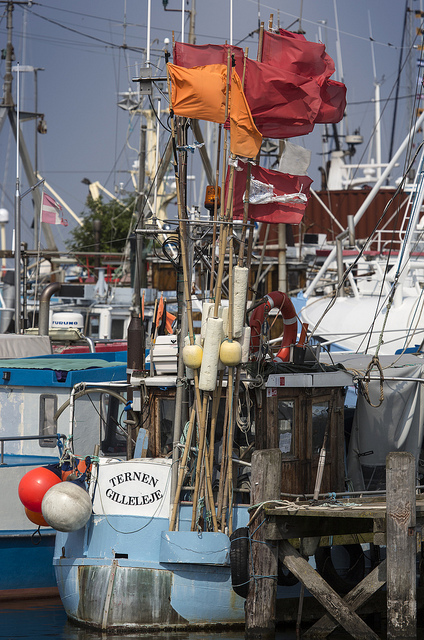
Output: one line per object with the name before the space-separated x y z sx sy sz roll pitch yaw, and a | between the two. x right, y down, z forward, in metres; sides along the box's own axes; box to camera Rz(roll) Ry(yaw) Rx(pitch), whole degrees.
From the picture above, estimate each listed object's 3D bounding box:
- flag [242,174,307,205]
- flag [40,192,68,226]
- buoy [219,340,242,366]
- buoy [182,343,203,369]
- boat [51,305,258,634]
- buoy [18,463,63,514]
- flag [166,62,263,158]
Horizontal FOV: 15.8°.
flag | 0.707 -1.532 18.343 0.842 0.348 0.270 -2 9 -34
flag | -3.121 -2.116 30.115 0.512 0.682 1.158 1 8 -7
buoy | 0.184 0.388 16.924 0.206 0.329 0.234 0 -2 -12
buoy | -0.231 0.445 17.050 0.195 0.319 0.227 -1 2 5
boat | -0.666 2.235 19.095 1.427 3.598 5.221 1 4 13
buoy | -2.040 1.912 18.057 0.450 0.628 0.517 15 45 1
flag | 0.011 -2.348 17.288 1.079 1.029 0.360 3 7 0
